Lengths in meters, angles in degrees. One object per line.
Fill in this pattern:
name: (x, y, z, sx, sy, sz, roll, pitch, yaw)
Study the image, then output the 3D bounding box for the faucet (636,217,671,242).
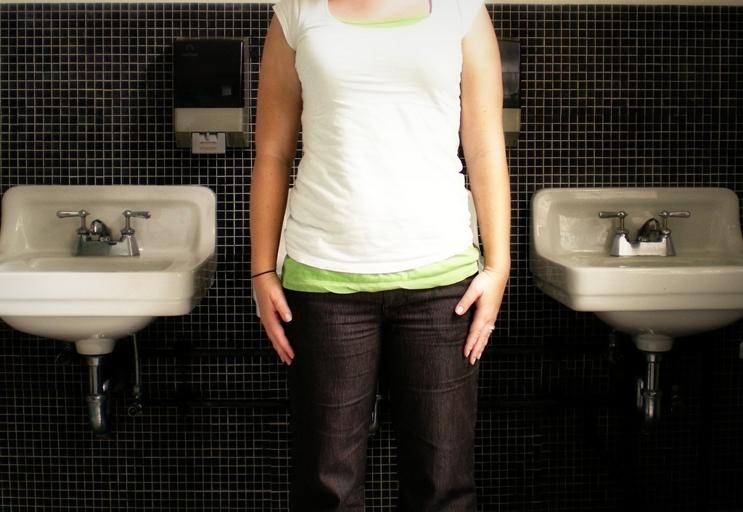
faucet: (1.095, -0.095, 3.094, 0.124, 0.078, 0.075, 1, 6, 9)

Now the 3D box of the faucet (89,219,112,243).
faucet: (-1.047, -0.094, 3.080, 0.071, 0.106, 0.059, -19, 17, -21)
